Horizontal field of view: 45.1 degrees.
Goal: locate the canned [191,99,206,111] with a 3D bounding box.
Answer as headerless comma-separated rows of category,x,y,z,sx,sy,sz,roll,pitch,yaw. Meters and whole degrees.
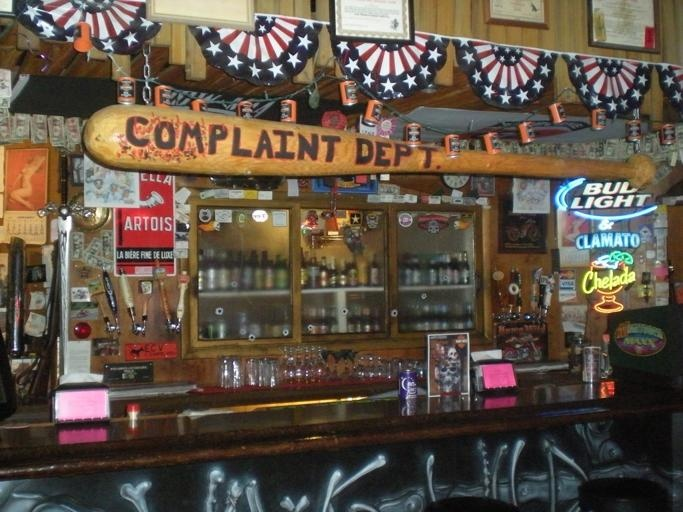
canned,-0.846,-0.893,4.914,0.083,0.078,0.142,2,1,-2

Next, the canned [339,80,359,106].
canned,0.044,-1.062,5.376,0.107,0.158,0.200,3,10,-1

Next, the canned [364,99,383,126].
canned,0.205,-0.945,5.446,0.123,0.167,0.179,3,10,1

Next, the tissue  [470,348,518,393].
tissue ,1.005,0.771,5.565,0.266,0.252,0.202,-2,-11,-21

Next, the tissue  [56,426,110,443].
tissue ,-1.417,0.972,4.538,0.270,0.033,0.309,0,11,-17

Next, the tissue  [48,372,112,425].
tissue ,-1.508,0.816,4.807,0.310,0.244,0.279,0,11,-14

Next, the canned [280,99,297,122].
canned,-0.330,-0.910,5.172,0.135,0.150,0.135,3,8,12

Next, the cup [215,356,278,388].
cup,-0.800,0.991,7.085,0.466,0.224,0.243,1,-4,-4

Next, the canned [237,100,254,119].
canned,-0.582,-0.889,5.010,0.079,0.094,0.123,1,11,-13

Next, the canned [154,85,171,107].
canned,-1.055,-0.942,4.874,0.090,0.124,0.199,1,11,-13

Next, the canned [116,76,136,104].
canned,-1.254,-0.961,4.819,0.093,0.156,0.226,0,11,-18

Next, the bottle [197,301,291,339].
bottle,-0.879,0.574,7.565,0.842,0.318,0.262,1,10,-10

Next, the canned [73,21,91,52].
canned,-1.516,-1.285,4.841,0.093,0.160,0.091,-1,11,-21
